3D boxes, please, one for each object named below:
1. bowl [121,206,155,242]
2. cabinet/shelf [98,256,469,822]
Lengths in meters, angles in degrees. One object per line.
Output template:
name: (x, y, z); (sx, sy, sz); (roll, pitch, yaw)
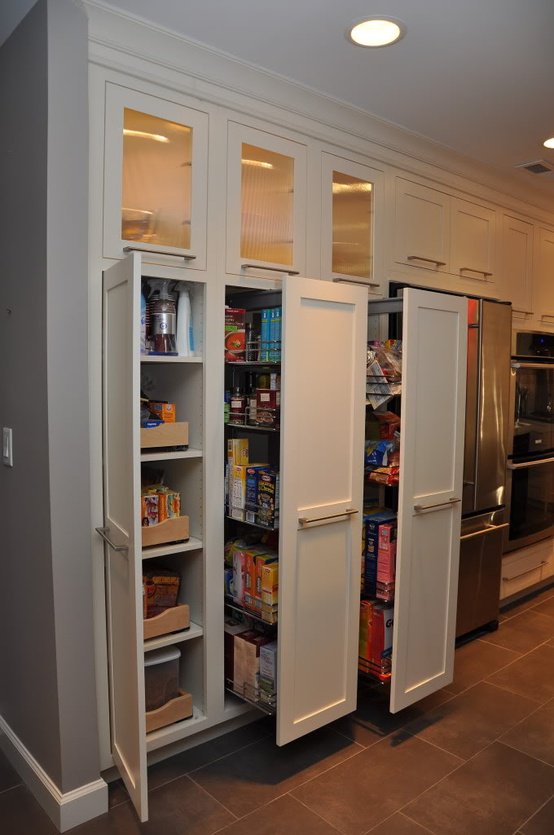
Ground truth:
bowl: (-0.422, -0.586, 1.914); (0.095, 0.096, 0.165); (2, 13, 4)
cabinet/shelf: (-0.002, 0.427, 2.083); (1.450, 1.779, 0.492); (-6, 10, -37)
